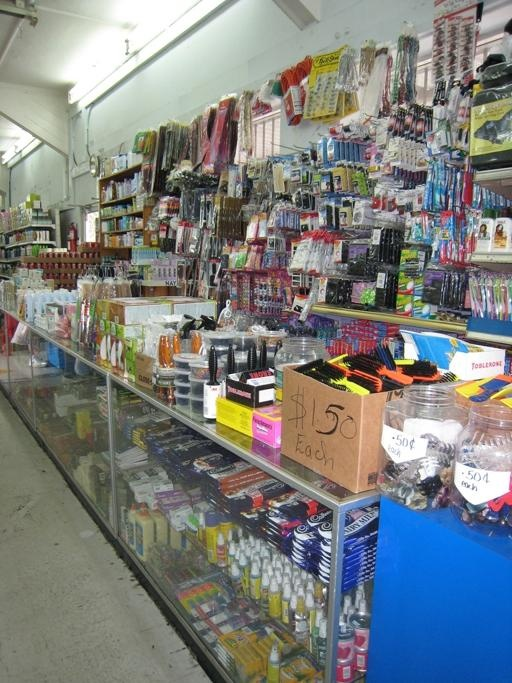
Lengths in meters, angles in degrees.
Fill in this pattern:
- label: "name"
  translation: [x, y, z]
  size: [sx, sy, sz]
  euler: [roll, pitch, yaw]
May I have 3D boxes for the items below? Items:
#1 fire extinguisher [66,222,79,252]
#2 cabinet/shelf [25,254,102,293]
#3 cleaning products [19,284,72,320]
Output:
- label: "fire extinguisher"
  translation: [-3.395, -1.905, 9.774]
  size: [0.205, 0.491, 0.592]
  euler: [-2, 8, -19]
- label: "cabinet/shelf"
  translation: [-2.835, -1.069, 7.822]
  size: [0.989, 0.521, 1.663]
  euler: [-4, 10, -31]
- label: "cleaning products"
  translation: [-1.776, -0.342, 4.460]
  size: [0.449, 0.183, 0.334]
  euler: [2, 7, 29]
